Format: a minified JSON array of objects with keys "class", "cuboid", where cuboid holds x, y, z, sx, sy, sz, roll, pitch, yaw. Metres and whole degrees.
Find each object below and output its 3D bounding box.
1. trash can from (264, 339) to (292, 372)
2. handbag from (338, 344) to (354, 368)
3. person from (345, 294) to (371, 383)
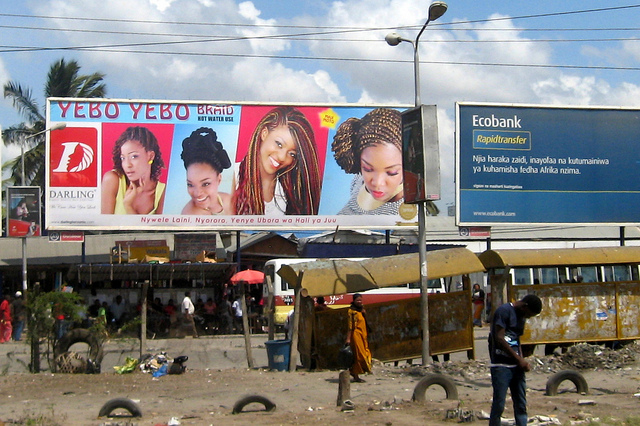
[{"class":"trash can","cuboid":[-1.311,4.738,27.864,0.921,0.858,0.948,1,-10,3]},{"class":"handbag","cuboid":[0.738,3.982,23.029,0.403,0.536,0.387,-4,7,-18]},{"class":"person","cuboid":[1.171,3.767,25.174,0.810,2.643,0.571,-5,7,-32]}]
